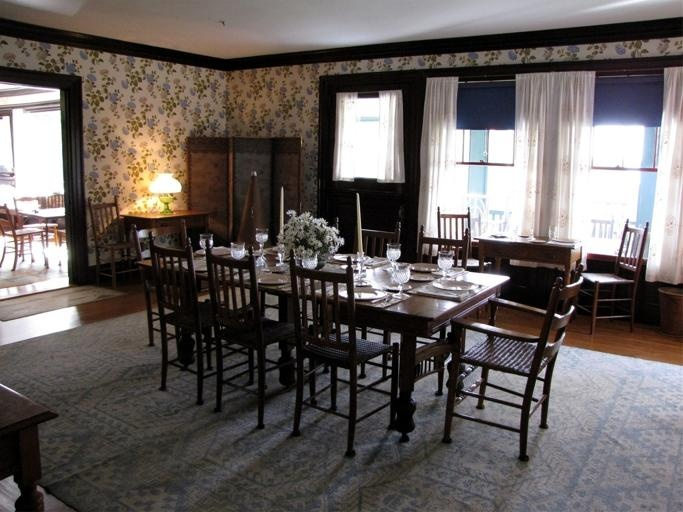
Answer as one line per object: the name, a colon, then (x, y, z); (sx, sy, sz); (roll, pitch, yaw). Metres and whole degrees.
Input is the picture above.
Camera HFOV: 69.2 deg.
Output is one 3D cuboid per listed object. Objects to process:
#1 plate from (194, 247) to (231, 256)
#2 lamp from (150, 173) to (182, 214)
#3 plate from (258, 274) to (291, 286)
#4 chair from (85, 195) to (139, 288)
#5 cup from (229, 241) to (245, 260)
plate: (-1.049, -0.035, 4.177); (0.145, 0.026, 0.182); (4, 10, 21)
lamp: (-2.377, -0.806, 6.707); (0.379, 0.447, 0.376); (-1, 1, -42)
plate: (-0.484, 0.157, 3.510); (0.223, 0.021, 0.320); (0, 14, -6)
chair: (-3.063, -0.132, 6.359); (0.483, 0.952, 0.456); (-7, 21, 7)
cup: (-0.791, -0.037, 3.772); (0.131, 0.146, 0.132); (0, 1, 0)
